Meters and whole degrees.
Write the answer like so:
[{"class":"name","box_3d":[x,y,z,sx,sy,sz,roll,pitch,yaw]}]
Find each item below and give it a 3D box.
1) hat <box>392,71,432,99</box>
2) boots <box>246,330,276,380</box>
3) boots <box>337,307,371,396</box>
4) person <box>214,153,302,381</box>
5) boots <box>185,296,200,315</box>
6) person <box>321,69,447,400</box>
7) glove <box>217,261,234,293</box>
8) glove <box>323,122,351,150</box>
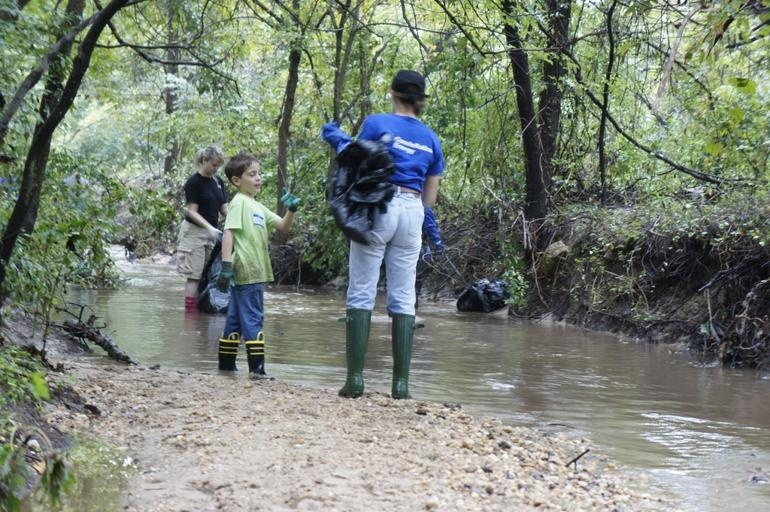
[{"class":"hat","box_3d":[0.215,-1.573,6.878,0.214,0.169,0.312,2,11,-5]},{"class":"boots","box_3d":[-1.335,1.033,7.709,0.320,0.490,0.259,-7,-13,-9]},{"class":"boots","box_3d":[-0.290,0.876,6.804,0.254,0.800,0.208,2,5,-3]},{"class":"person","box_3d":[-1.392,0.080,7.864,0.713,2.306,0.926,2,5,-10]},{"class":"boots","box_3d":[-3.003,0.745,11.398,0.201,0.338,0.257,-1,4,-38]},{"class":"person","box_3d":[0.070,-0.217,6.933,0.955,3.020,0.532,1,6,-17]},{"class":"glove","box_3d":[-1.670,0.215,7.738,0.139,0.343,0.205,1,6,-18]},{"class":"glove","box_3d":[-0.469,-1.099,7.033,0.204,0.311,0.121,-33,-30,-12]}]
